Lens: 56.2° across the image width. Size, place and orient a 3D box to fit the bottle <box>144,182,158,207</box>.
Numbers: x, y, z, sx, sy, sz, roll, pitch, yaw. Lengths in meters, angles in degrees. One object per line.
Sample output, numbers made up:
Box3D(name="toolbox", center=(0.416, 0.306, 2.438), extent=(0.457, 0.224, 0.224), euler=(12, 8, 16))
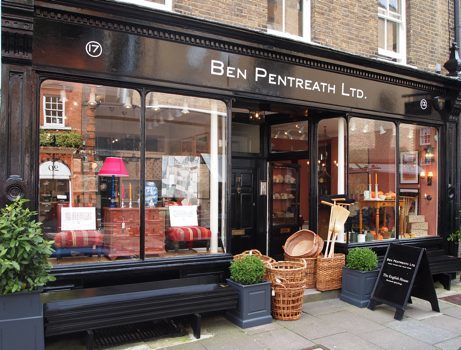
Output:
Box3D(name="bottle", center=(-1.289, 0.316, 7.102), extent=(0.230, 0.427, 0.052), euler=(-3, 8, -43))

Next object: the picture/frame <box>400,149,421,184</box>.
Box3D(name="picture/frame", center=(4.145, -0.185, 9.985), extent=(0.826, 1.142, 0.050), euler=(2, -3, -25))

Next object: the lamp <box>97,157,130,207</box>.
Box3D(name="lamp", center=(-1.861, 0.114, 6.858), extent=(0.443, 0.781, 0.103), euler=(1, 6, -16))

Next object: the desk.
Box3D(name="desk", center=(3.204, 0.929, 9.586), extent=(0.531, 0.737, 0.667), euler=(-1, -1, 38))

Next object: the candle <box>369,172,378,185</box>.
Box3D(name="candle", center=(3.138, 0.081, 9.456), extent=(0.303, 0.276, 0.058), euler=(-2, 7, -35))

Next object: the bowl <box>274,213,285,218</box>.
Box3D(name="bowl", center=(1.143, 0.939, 10.108), extent=(0.281, 0.140, 0.039), euler=(-1, 6, -27))

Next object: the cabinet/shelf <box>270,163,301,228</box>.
Box3D(name="cabinet/shelf", center=(1.288, 0.488, 10.135), extent=(0.735, 1.543, 0.362), euler=(2, 6, -5))

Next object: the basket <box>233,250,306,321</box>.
Box3D(name="basket", center=(0.855, 1.911, 7.514), extent=(1.271, 0.947, 1.040), euler=(4, -6, -39))

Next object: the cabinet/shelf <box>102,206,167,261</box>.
Box3D(name="cabinet/shelf", center=(-1.648, 0.895, 7.271), extent=(1.305, 1.180, 0.718), euler=(1, -3, -22))

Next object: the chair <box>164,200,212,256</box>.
Box3D(name="chair", center=(-0.751, 0.927, 7.394), extent=(0.792, 1.083, 0.866), euler=(2, -4, -30))

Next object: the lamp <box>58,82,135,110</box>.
Box3D(name="lamp", center=(-2.045, -1.223, 6.744), extent=(1.159, 0.359, 0.098), euler=(0, 6, -19))

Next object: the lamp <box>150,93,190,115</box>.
Box3D(name="lamp", center=(-1.031, -1.192, 7.268), extent=(0.757, 0.289, 0.241), euler=(2, -4, -32))
